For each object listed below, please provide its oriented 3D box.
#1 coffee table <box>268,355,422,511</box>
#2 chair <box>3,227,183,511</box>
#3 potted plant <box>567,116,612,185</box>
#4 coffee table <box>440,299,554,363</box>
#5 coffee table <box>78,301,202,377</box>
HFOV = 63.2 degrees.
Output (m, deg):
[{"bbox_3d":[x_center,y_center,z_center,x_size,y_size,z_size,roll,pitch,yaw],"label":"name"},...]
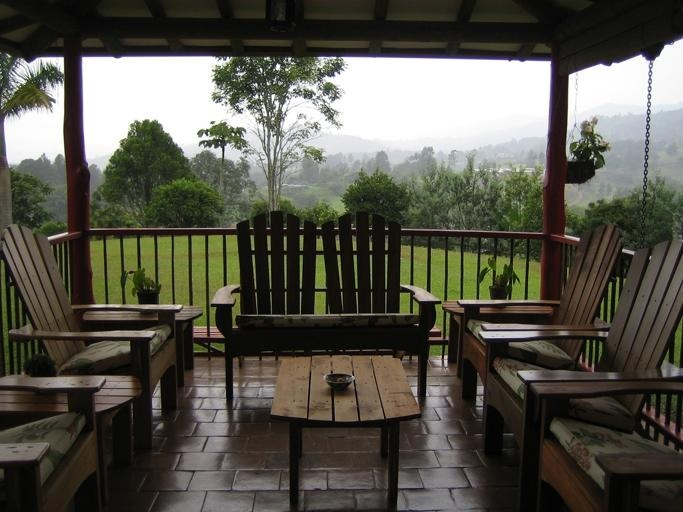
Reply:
[{"bbox_3d":[0.003,1.014,3.359,0.798,0.566,0.859,0,13,-3],"label":"coffee table"},{"bbox_3d":[-1.661,0.500,3.650,1.001,1.375,1.312,0,13,-1],"label":"chair"},{"bbox_3d":[2.411,-0.986,5.426,0.375,0.601,0.833,6,14,24],"label":"potted plant"},{"bbox_3d":[1.256,0.567,4.532,0.791,0.480,0.610,-1,4,-1],"label":"coffee table"},{"bbox_3d":[-1.528,0.669,4.317,1.073,0.632,0.547,1,2,-1],"label":"coffee table"}]
